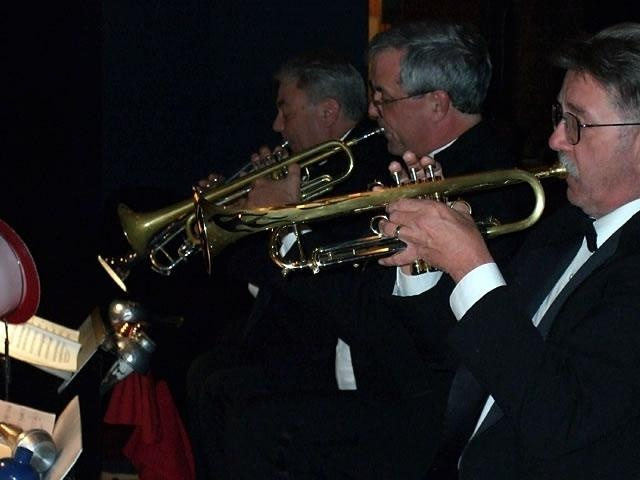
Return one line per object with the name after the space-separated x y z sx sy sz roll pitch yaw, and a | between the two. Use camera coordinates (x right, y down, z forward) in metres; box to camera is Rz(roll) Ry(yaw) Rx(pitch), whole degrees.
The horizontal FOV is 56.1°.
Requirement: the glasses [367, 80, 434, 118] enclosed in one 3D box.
0.296 -0.535 2.268 0.149 0.058 0.098 -14 19 11 | glasses

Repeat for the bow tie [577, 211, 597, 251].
0.725 -0.025 1.650 0.030 0.113 0.032 5 -38 -1 | bow tie
